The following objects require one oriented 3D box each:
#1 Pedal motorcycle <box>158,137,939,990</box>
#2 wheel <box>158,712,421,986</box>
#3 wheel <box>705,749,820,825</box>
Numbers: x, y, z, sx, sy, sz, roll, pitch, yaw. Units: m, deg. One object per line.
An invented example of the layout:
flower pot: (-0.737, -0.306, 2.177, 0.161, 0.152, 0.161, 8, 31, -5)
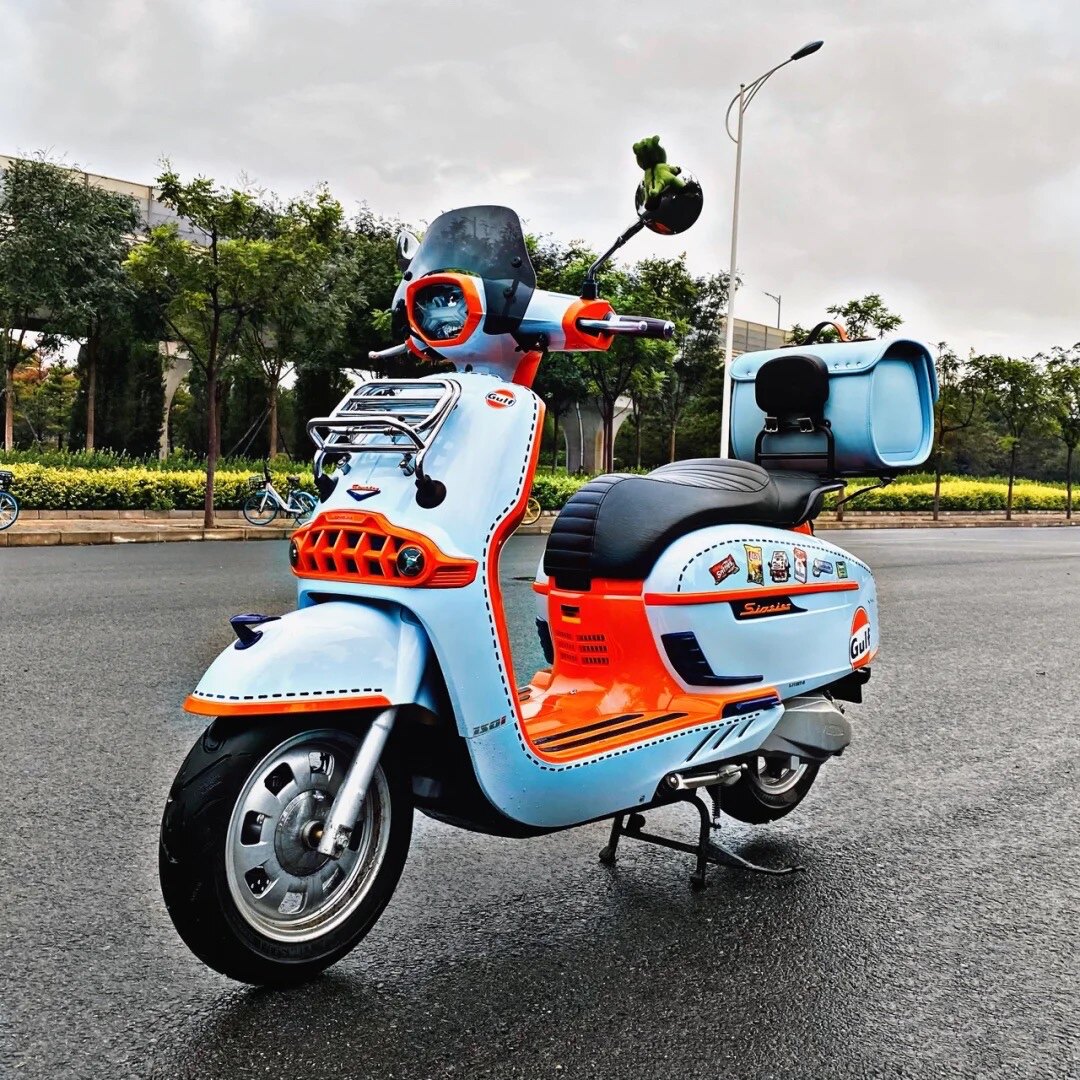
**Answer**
Pedal motorcycle: (0.099, 0.126, 3.642, 1.016, 1.783, 2.951, -6, -3, 44)
wheel: (-0.601, 0.755, 2.699, 0.681, 0.672, 0.220, 17, -7, -41)
wheel: (0.785, 0.878, 3.961, 0.457, 0.397, 0.173, 2, -9, -1)
